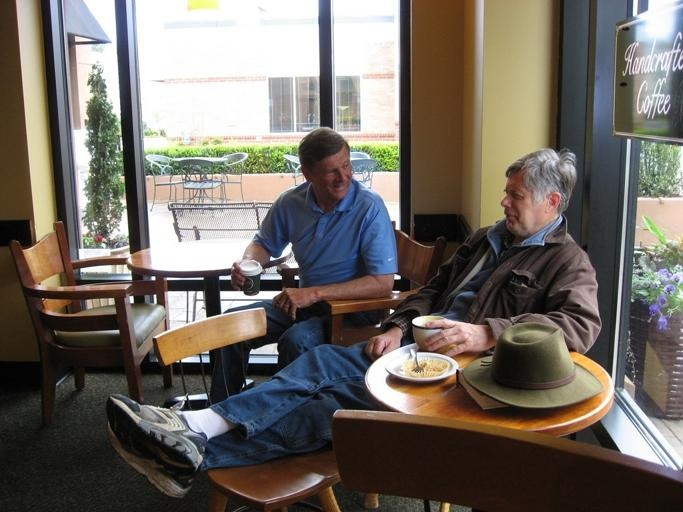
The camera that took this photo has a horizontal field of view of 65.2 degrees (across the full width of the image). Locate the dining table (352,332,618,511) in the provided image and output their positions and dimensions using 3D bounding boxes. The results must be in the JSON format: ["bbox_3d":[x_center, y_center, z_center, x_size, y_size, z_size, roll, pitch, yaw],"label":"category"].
[{"bbox_3d":[0.443,0.408,1.735,0.587,0.641,0.541,-1,16,-1],"label":"dining table"}]

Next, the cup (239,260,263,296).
[{"bbox_3d":[-0.451,0.112,2.743,0.137,0.156,0.153,-3,12,-10],"label":"cup"}]

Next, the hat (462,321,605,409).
[{"bbox_3d":[0.564,0.342,1.561,0.297,0.118,0.267,-12,21,-17],"label":"hat"}]

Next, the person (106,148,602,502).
[{"bbox_3d":[0.151,0.216,2.337,2.118,1.247,1.156,-9,14,-19],"label":"person"}]

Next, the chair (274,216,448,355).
[{"bbox_3d":[0.149,0.172,3.182,0.689,0.958,0.730,-1,12,-19],"label":"chair"}]

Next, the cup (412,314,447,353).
[{"bbox_3d":[0.298,0.278,1.916,0.116,0.093,0.107,3,7,0],"label":"cup"}]
